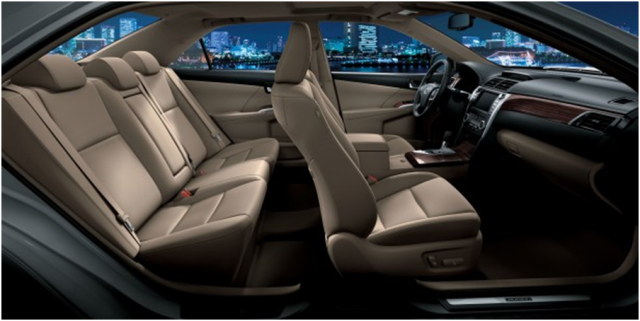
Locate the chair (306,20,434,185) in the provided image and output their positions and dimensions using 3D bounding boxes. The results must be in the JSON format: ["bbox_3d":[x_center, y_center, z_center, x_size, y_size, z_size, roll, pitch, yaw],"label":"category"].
[{"bbox_3d":[0.434,-0.586,3.135,1.317,1.307,0.861,8,29,0],"label":"chair"}]

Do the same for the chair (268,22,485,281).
[{"bbox_3d":[0.825,-0.166,3.134,2.101,2.030,1.526,-8,9,-2],"label":"chair"}]
